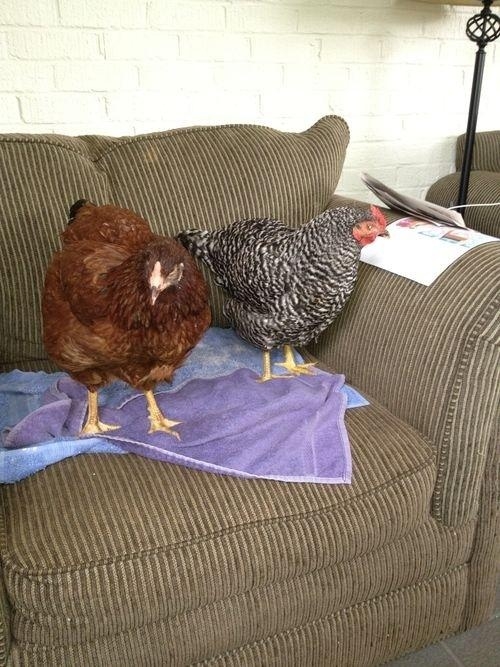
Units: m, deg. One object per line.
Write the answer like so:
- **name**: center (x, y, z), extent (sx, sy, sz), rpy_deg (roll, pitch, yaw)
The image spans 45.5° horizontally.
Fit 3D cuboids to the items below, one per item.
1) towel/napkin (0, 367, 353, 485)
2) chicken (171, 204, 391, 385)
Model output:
- **towel/napkin**: center (-0.078, 0.164, 0.968), extent (0.390, 0.051, 0.246), rpy_deg (-5, 22, -15)
- **chicken**: center (0.063, -0.091, 1.199), extent (0.259, 0.343, 0.481), rpy_deg (-18, 27, -41)
